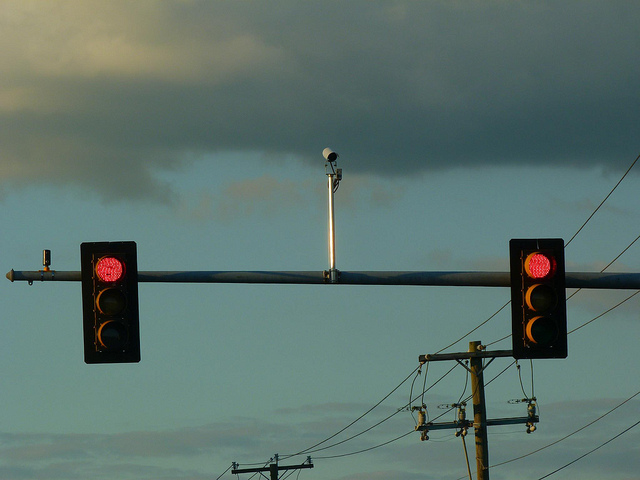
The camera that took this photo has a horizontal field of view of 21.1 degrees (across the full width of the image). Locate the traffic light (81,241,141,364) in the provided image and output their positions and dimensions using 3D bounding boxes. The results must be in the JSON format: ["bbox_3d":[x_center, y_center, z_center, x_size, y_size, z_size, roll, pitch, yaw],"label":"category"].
[{"bbox_3d":[-4.439,1.302,36.857,1.194,2.400,0.970,0,-24,-8],"label":"traffic light"}]

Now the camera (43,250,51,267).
[{"bbox_3d":[-6.092,0.403,38.793,0.112,0.379,0.157,-2,-24,-4],"label":"camera"}]

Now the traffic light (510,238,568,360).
[{"bbox_3d":[4.731,1.378,37.127,1.246,2.751,1.039,0,5,35],"label":"traffic light"}]
